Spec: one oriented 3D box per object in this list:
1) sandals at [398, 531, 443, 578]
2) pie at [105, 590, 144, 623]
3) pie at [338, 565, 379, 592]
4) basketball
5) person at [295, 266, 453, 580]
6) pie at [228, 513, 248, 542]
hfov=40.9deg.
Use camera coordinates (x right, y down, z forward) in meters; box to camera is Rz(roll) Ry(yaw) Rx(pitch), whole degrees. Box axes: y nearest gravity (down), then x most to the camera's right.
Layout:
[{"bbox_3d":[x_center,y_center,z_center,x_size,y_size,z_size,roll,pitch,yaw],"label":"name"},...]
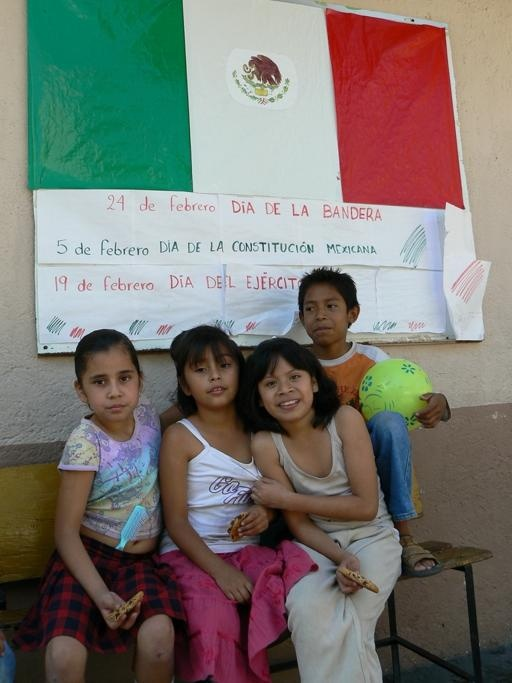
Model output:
[{"bbox_3d":[0.533,0.721,2.273,0.102,0.110,0.203,-8,4,-15],"label":"sandals"},{"bbox_3d":[-0.345,0.722,1.851,0.108,0.056,0.037,-8,4,-36],"label":"pie"},{"bbox_3d":[0.287,0.681,1.966,0.039,0.057,0.124,-11,6,-41],"label":"pie"},{"bbox_3d":[0.497,0.171,2.475,0.307,0.228,0.289,3,7,3],"label":"basketball"},{"bbox_3d":[0.352,0.253,2.601,0.735,1.085,0.637,-6,-10,-12],"label":"person"},{"bbox_3d":[-0.061,0.590,2.187,0.042,0.081,0.065,10,-5,4],"label":"pie"}]
